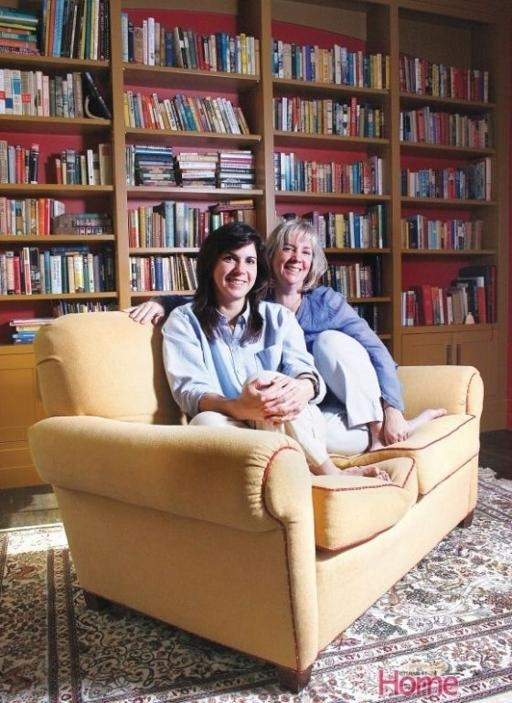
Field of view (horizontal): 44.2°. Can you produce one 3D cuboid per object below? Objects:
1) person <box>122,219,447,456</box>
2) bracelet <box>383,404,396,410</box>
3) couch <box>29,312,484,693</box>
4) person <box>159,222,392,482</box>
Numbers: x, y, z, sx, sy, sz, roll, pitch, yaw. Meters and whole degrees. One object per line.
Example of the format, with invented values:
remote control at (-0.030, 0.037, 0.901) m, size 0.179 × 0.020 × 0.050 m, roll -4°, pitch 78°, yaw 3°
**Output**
person at (0.145, -0.054, 2.169) m, size 0.863 × 0.830 × 0.695 m, roll -5°, pitch -5°, yaw 21°
bracelet at (0.416, 0.175, 1.996) m, size 0.021 × 0.014 × 0.018 m, roll 1°, pitch 5°, yaw 14°
couch at (0.116, 0.244, 1.913) m, size 0.843 × 0.695 × 1.377 m, roll 5°, pitch 8°, yaw 34°
person at (0.025, 0.046, 1.755) m, size 0.535 × 0.701 × 0.671 m, roll -9°, pitch 19°, yaw -20°
